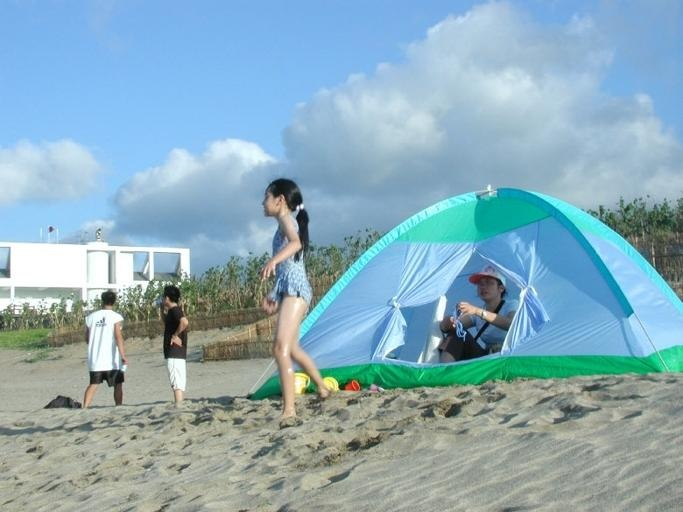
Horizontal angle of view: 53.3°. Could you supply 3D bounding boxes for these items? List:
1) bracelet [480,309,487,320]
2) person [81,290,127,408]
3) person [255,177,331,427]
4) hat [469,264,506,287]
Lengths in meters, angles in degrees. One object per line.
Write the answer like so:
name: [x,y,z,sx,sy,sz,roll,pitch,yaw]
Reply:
bracelet: [1.500,0.623,7.159,0.019,0.095,0.090,-2,19,26]
person: [-3.015,1.263,8.622,0.593,1.232,1.761,-8,5,-20]
person: [-0.449,0.382,5.974,0.470,2.112,0.909,-6,4,-5]
hat: [1.608,0.219,7.486,0.319,0.199,0.221,24,-15,-9]
